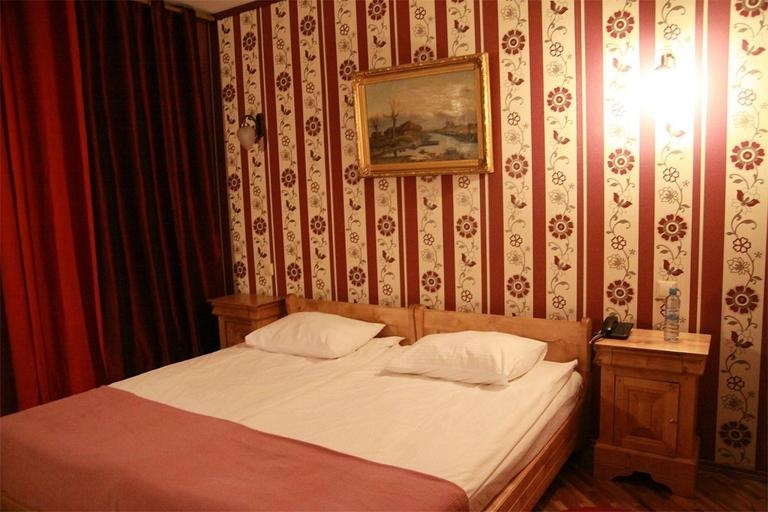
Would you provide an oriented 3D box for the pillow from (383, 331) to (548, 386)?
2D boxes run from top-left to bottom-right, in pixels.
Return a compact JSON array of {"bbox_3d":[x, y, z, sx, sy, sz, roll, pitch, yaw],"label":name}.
[{"bbox_3d":[0.556,0.677,3.868,1.003,0.251,0.440,2,9,23],"label":"pillow"}]

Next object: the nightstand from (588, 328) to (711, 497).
[{"bbox_3d":[1.752,0.994,3.753,0.667,0.962,0.547,3,9,27],"label":"nightstand"}]

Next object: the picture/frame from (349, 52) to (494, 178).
[{"bbox_3d":[0.326,-1.085,4.284,1.005,0.752,0.051,2,14,24],"label":"picture/frame"}]

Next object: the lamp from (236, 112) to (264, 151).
[{"bbox_3d":[-1.214,-1.106,4.968,0.283,0.313,0.214,4,10,34],"label":"lamp"}]

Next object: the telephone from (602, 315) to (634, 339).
[{"bbox_3d":[1.531,0.482,3.726,0.154,0.051,0.167,7,35,33],"label":"telephone"}]
